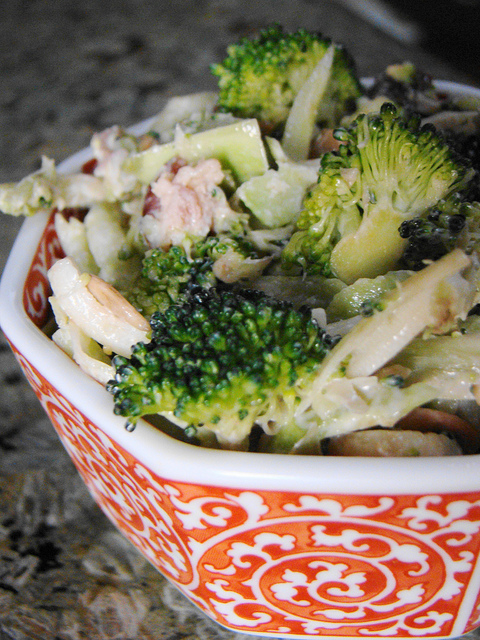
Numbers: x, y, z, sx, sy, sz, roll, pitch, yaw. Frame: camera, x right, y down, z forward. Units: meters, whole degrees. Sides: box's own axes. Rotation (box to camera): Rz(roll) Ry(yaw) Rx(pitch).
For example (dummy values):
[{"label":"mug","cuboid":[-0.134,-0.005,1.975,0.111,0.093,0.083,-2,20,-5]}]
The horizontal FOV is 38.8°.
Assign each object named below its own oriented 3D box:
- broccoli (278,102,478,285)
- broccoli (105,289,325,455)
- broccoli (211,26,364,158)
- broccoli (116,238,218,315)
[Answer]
[{"label":"broccoli","cuboid":[0.219,-0.162,1.078,0.253,0.138,0.289,32,100,16]},{"label":"broccoli","cuboid":[-0.011,0.040,0.923,0.276,0.222,0.234,-7,18,-2]},{"label":"broccoli","cuboid":[0.041,-0.434,1.349,0.123,0.346,0.301,19,89,-4]},{"label":"broccoli","cuboid":[-0.096,-0.052,1.044,0.163,0.056,0.103,-18,36,17]}]
